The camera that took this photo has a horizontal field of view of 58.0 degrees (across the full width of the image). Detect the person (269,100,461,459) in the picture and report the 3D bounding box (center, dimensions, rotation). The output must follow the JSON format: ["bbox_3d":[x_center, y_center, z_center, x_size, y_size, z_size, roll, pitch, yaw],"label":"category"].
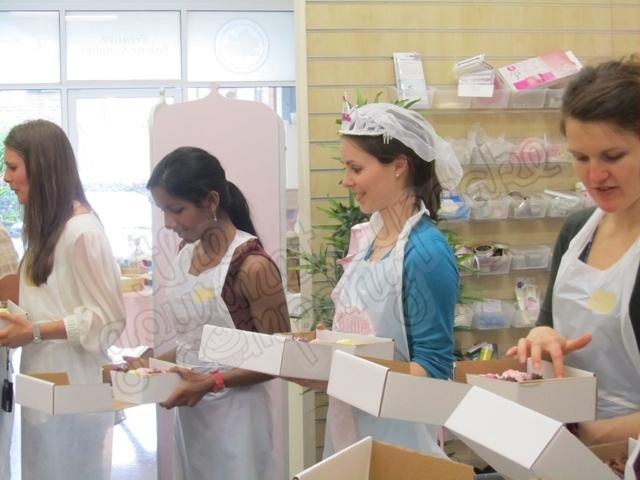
[{"bbox_3d":[0.174,0.037,2.326,0.696,2.091,0.724,0,2,-3],"label":"person"}]

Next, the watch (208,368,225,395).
[{"bbox_3d":[-0.262,0.363,1.481,0.035,0.057,0.051,-2,-18,-17],"label":"watch"}]

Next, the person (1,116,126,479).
[{"bbox_3d":[-0.657,0.165,1.450,0.363,0.950,0.191,1,4,30],"label":"person"}]

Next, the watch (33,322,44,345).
[{"bbox_3d":[-0.698,0.230,1.425,0.020,0.053,0.050,-4,4,-30],"label":"watch"}]
